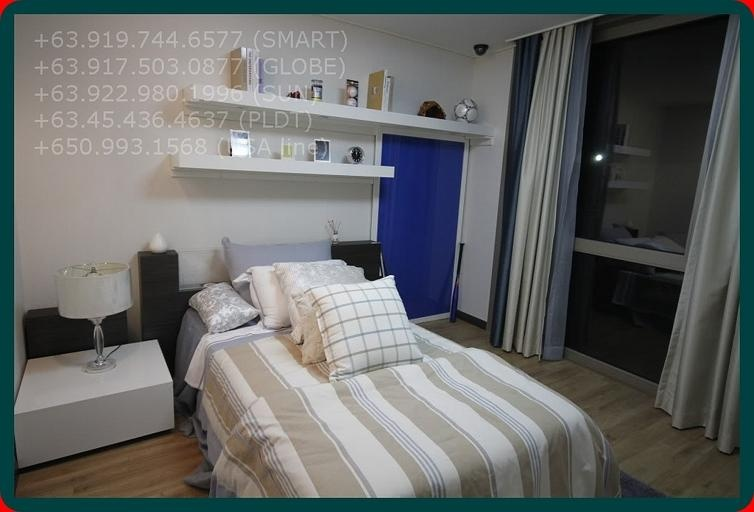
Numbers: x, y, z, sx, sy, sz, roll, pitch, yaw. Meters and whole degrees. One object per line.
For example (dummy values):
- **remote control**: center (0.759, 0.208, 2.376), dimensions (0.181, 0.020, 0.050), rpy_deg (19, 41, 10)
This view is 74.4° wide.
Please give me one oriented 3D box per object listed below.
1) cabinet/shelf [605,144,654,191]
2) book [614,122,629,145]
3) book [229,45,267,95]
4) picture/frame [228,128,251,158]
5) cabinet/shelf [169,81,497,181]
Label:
- **cabinet/shelf**: center (1.947, -0.682, 3.816), dimensions (0.187, 0.333, 0.361), rpy_deg (-5, 9, -32)
- **book**: center (1.885, -0.953, 3.861), dimensions (0.018, 0.164, 0.100), rpy_deg (-12, 18, -41)
- **book**: center (-0.955, -1.354, 3.618), dimensions (0.246, 0.307, 0.221), rpy_deg (-3, 13, -14)
- **picture/frame**: center (-1.028, -0.847, 3.720), dimensions (0.146, 0.191, 0.132), rpy_deg (-5, 14, -21)
- **cabinet/shelf**: center (-0.276, -1.115, 4.020), dimensions (2.414, 0.331, 0.337), rpy_deg (-6, 14, -28)
